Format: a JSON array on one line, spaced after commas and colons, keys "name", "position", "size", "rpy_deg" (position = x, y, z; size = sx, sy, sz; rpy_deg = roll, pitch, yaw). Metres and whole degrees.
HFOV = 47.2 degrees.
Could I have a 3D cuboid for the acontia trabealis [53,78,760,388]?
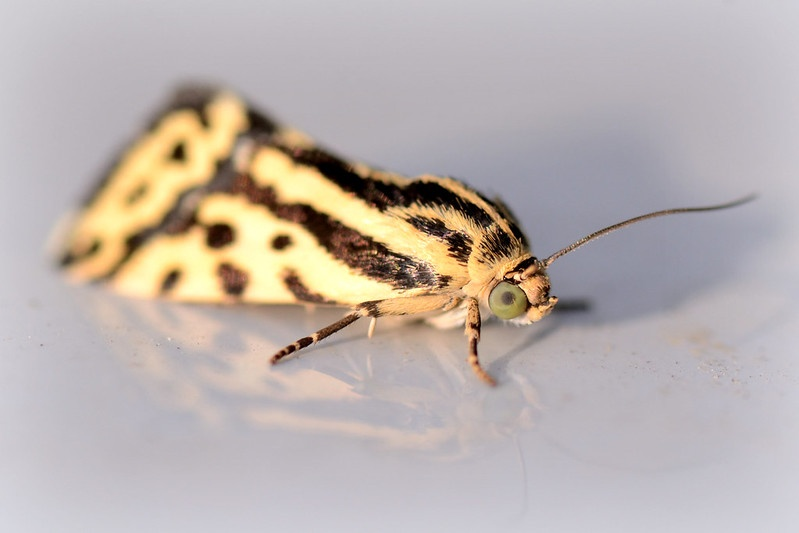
[{"name": "acontia trabealis", "position": [-0.625, -0.352, 4.931], "size": [2.520, 1.248, 0.503], "rpy_deg": [0, 17, 12]}]
